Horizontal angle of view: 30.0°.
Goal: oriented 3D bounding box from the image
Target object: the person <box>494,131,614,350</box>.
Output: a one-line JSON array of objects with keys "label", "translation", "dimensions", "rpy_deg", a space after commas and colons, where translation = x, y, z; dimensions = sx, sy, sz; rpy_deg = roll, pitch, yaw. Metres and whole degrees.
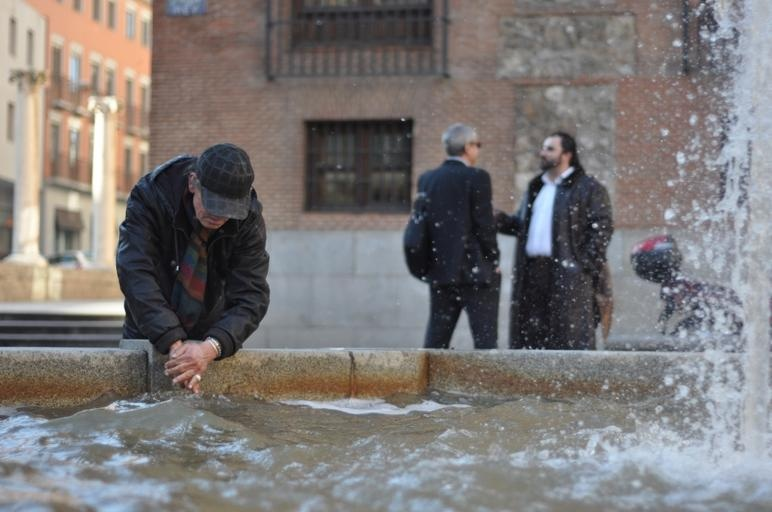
[{"label": "person", "translation": [1.928, -0.174, 15.795], "dimensions": [1.078, 2.377, 0.326], "rpy_deg": [0, -1, 5]}]

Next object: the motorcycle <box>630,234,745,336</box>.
[{"label": "motorcycle", "translation": [3.451, 0.345, 16.576], "dimensions": [1.256, 1.149, 0.635], "rpy_deg": [0, -1, 14]}]

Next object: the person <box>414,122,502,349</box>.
[{"label": "person", "translation": [0.784, -0.236, 15.714], "dimensions": [0.921, 2.478, 0.581], "rpy_deg": [0, -1, 5]}]

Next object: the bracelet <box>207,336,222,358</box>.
[{"label": "bracelet", "translation": [-1.684, 0.888, 14.244], "dimensions": [0.063, 0.161, 0.175], "rpy_deg": [-24, -21, -11]}]
